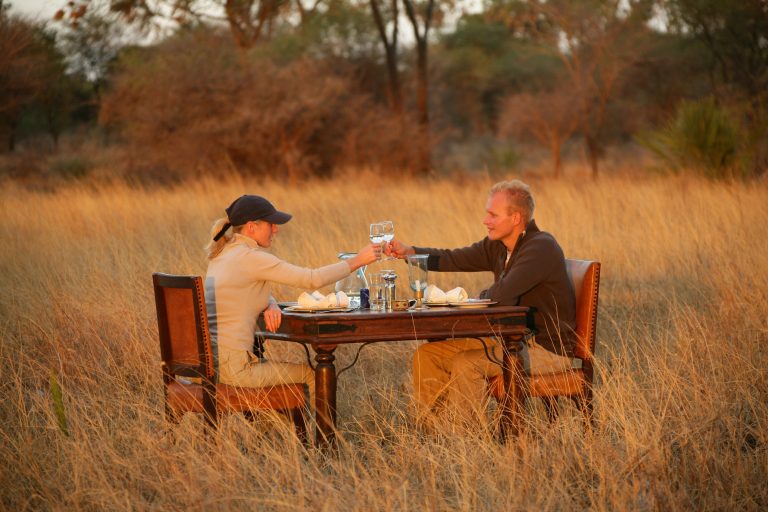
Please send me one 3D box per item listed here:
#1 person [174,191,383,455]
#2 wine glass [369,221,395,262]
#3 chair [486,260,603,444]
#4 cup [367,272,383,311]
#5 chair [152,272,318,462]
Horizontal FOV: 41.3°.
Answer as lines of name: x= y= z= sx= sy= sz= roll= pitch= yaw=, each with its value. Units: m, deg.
person: x=-1.196 y=0.420 z=10.449 sx=1.432 sy=3.175 sz=1.064 roll=0 pitch=0 yaw=-36
wine glass: x=-0.031 y=-0.197 z=10.663 sx=0.279 sy=0.553 sz=0.292 roll=2 pitch=3 yaw=15
chair: x=1.725 y=1.166 z=11.456 sx=1.867 sy=2.182 sz=0.890 roll=2 pitch=-1 yaw=-5
cup: x=-0.082 y=0.362 z=10.436 sx=0.121 sy=0.384 sz=0.115 roll=0 pitch=1 yaw=0
chair: x=-1.601 y=1.109 z=10.355 sx=1.073 sy=2.337 sz=1.189 roll=0 pitch=-2 yaw=-39
